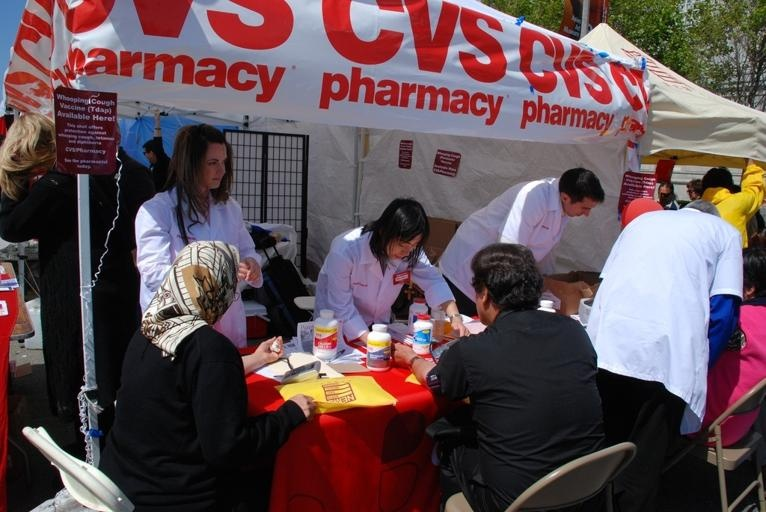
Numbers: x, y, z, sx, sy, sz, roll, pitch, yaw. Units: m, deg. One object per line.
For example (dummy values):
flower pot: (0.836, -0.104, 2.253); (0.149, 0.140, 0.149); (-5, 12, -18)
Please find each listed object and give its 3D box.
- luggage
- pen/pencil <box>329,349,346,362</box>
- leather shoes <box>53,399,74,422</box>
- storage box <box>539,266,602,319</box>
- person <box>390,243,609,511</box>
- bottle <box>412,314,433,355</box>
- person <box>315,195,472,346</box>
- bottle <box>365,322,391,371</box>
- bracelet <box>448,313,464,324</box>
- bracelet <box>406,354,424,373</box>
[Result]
luggage: (-0.938, 0.246, 5.374); (0.580, 0.977, 0.560); (-19, -12, 42)
pen/pencil: (-0.259, 0.572, 3.320); (0.028, 0.024, 0.209); (6, 11, 22)
leather shoes: (-1.958, 0.950, 3.546); (0.138, 0.141, 0.236); (0, -12, -21)
storage box: (1.626, 0.287, 4.699); (0.526, 0.216, 0.382); (-2, 2, -33)
person: (0.635, 0.633, 2.863); (0.921, 1.373, 0.363); (5, 6, 21)
bottle: (0.239, 0.476, 3.398); (0.153, 0.229, 0.153); (3, -8, 0)
person: (0.152, 0.105, 4.125); (0.536, 1.338, 0.937); (-20, 55, -39)
bottle: (-0.022, 0.521, 3.257); (0.148, 0.263, 0.153); (1, 5, 0)
bracelet: (0.475, 0.418, 3.793); (0.066, 0.048, 0.072); (18, 3, 10)
bracelet: (0.176, 0.608, 3.174); (0.073, 0.079, 0.050); (25, 1, -30)
